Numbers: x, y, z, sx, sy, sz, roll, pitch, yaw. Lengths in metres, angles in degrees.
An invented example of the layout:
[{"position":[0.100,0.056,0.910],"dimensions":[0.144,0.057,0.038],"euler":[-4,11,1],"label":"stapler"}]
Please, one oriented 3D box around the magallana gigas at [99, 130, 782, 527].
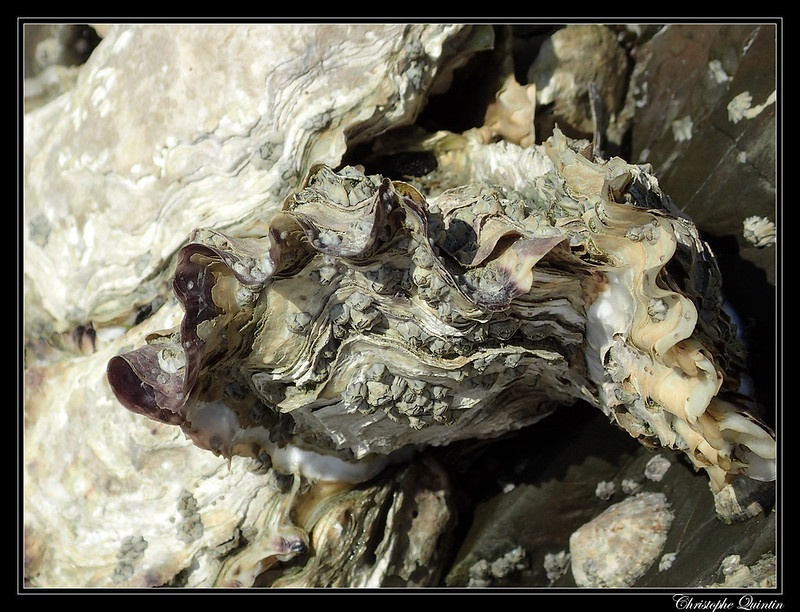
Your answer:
[{"position":[0.240,0.107,4.565],"dimensions":[2.460,1.523,0.875],"euler":[-10,31,8],"label":"magallana gigas"}]
